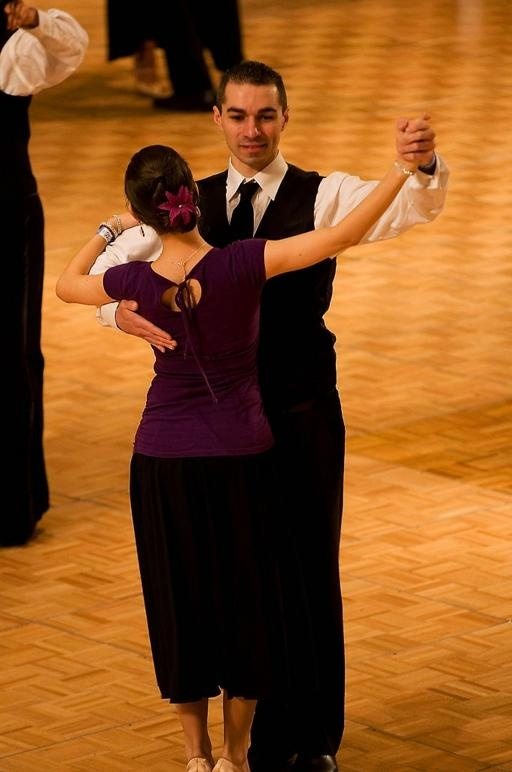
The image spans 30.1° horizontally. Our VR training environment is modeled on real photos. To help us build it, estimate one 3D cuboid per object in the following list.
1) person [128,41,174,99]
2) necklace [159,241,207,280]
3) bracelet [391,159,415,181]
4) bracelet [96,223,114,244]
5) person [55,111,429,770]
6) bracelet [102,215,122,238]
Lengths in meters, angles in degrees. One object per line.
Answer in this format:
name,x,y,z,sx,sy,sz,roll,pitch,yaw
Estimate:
person,-1.163,-3.445,10.055,0.499,0.280,0.839,0,-17,-9
necklace,-0.118,-0.203,1.577,0.062,0.036,0.073,-24,12,19
bracelet,0.232,-0.336,1.498,0.038,0.014,0.027,25,5,-16
bracelet,-0.307,-0.296,1.868,0.036,0.038,0.037,0,29,22
person,-0.109,0.147,1.855,0.384,1.348,0.580,-16,31,-39
bracelet,-0.280,-0.307,1.835,0.034,0.038,0.015,-4,32,11
